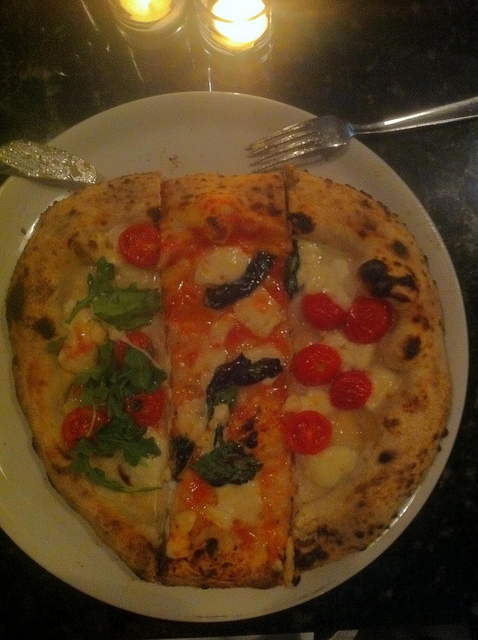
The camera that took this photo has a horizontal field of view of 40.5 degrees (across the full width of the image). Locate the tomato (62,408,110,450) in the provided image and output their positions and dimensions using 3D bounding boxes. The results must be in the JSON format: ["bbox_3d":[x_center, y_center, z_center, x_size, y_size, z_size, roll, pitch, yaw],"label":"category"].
[{"bbox_3d":[-0.941,0.641,3.825,0.223,0.108,0.285,35,84,8],"label":"tomato"}]

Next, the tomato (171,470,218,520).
[{"bbox_3d":[-0.307,1.011,3.848,0.305,0.077,0.240,-21,80,-1],"label":"tomato"}]

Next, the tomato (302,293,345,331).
[{"bbox_3d":[0.490,-0.050,3.886,0.200,0.119,0.266,-43,81,-4],"label":"tomato"}]

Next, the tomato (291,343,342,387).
[{"bbox_3d":[0.459,0.267,3.855,0.297,0.156,0.258,1,81,3],"label":"tomato"}]

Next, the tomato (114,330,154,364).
[{"bbox_3d":[-0.633,0.155,3.852,0.194,0.115,0.180,-2,90,-1],"label":"tomato"}]
